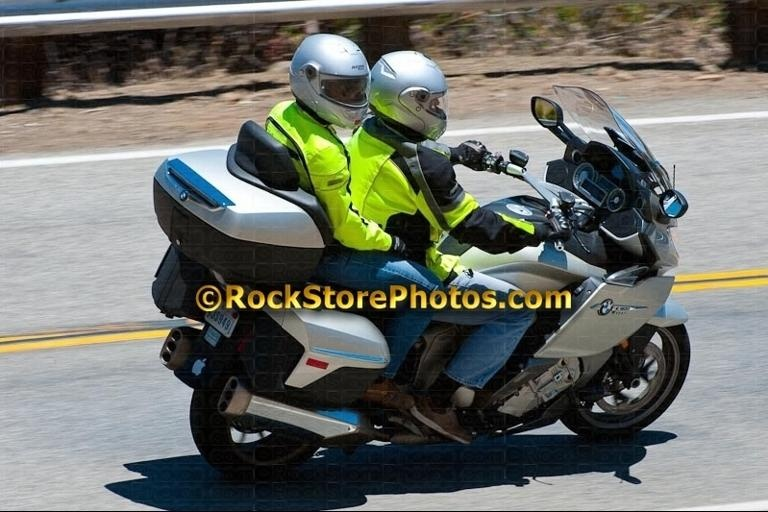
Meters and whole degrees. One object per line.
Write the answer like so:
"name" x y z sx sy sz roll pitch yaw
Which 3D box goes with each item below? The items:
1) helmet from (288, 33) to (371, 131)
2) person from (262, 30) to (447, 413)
"helmet" -0.247 -1.027 5.793 0.512 0.400 0.535 -16 34 -34
"person" -0.230 -0.517 5.676 0.690 1.444 0.808 -12 25 -34
